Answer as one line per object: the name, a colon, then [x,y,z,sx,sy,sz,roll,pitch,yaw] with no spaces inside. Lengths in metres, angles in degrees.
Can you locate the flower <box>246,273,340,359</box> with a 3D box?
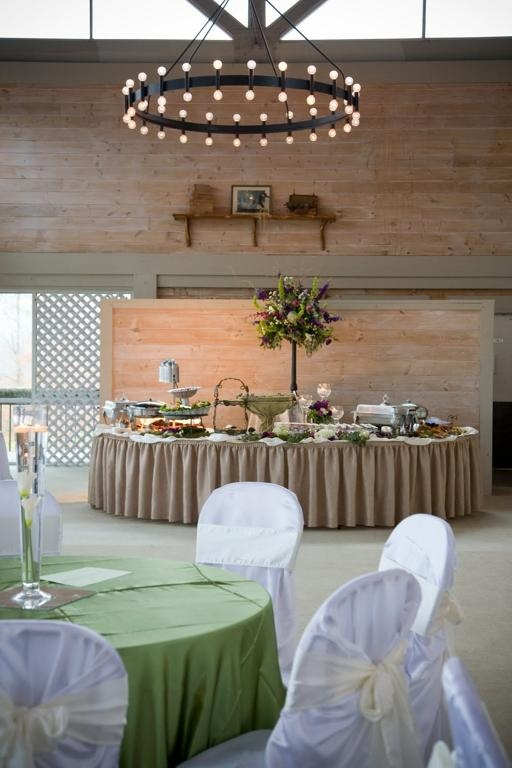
flower: [0.320,-0.561,5.284,0.443,0.471,0.414,-12,7,-24]

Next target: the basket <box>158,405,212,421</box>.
basket: [-0.532,0.216,5.206,0.350,0.107,0.228,-2,0,-10]

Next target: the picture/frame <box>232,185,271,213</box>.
picture/frame: [-0.051,-1.987,7.467,0.316,0.226,0.024,0,-5,-1]

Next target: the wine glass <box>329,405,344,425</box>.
wine glass: [0.605,0.239,5.242,0.078,0.126,0.219,-2,0,9]

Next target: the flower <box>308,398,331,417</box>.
flower: [0.475,0.176,5.220,0.129,0.108,0.130,3,-3,41]
